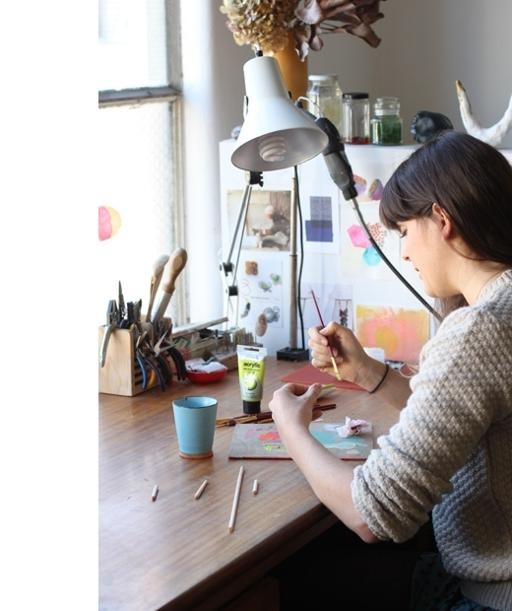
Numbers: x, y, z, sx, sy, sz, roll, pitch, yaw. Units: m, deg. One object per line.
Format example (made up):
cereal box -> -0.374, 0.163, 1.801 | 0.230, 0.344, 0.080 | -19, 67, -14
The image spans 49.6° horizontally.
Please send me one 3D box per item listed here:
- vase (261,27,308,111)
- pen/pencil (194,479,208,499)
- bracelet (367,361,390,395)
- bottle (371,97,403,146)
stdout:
vase -> 0.110, -0.723, 1.776 | 0.135, 0.208, 0.131 | -3, -25, 14
pen/pencil -> -0.093, 0.303, 0.904 | 0.007, 0.005, 0.030 | 7, 21, 14
bracelet -> 0.264, 0.155, 1.186 | 0.015, 0.055, 0.057 | 28, 0, 0
bottle -> 0.361, -0.508, 1.538 | 0.093, 0.129, 0.088 | -4, 21, 2
